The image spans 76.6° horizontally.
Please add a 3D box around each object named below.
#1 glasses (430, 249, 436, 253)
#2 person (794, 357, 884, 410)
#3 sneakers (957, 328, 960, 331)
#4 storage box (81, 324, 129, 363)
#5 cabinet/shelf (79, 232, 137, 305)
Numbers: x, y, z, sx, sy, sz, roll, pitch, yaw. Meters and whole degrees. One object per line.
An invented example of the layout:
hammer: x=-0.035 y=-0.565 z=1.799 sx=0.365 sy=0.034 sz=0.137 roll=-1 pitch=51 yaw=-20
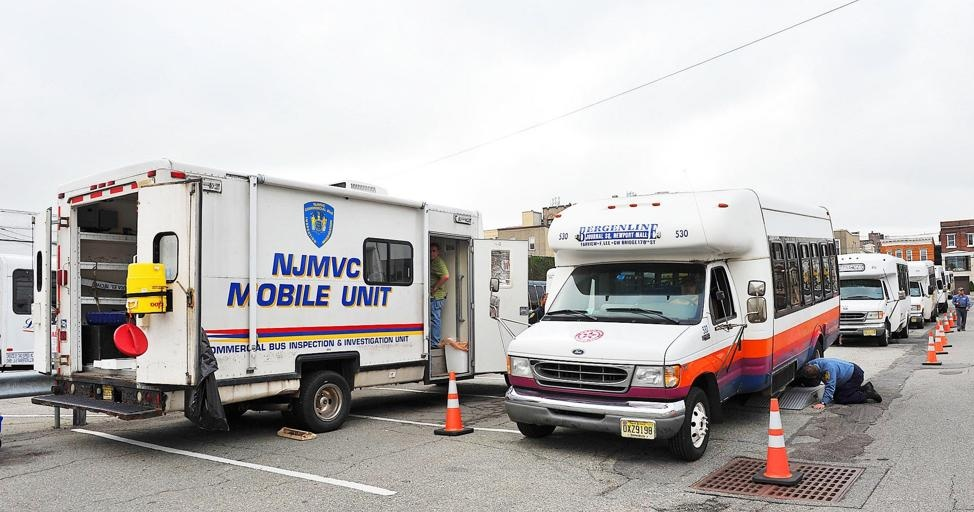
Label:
glasses: x=-1.331 y=-0.119 z=15.153 sx=0.110 sy=0.071 sz=0.101 roll=9 pitch=-12 yaw=-43
person: x=8.213 y=2.979 z=14.551 sx=2.147 sy=0.841 sz=1.330 roll=2 pitch=1 yaw=-7
sneakers: x=22.721 y=3.563 z=29.770 sx=0.385 sy=0.151 sz=0.124 roll=8 pitch=-14 yaw=-43
storage box: x=-7.780 y=1.766 z=12.500 sx=0.524 sy=0.837 sz=0.971 roll=-3 pitch=-5 yaw=28
cabinet/shelf: x=-7.916 y=0.261 z=12.796 sx=1.703 sy=1.376 sz=0.544 roll=3 pitch=-5 yaw=-40
